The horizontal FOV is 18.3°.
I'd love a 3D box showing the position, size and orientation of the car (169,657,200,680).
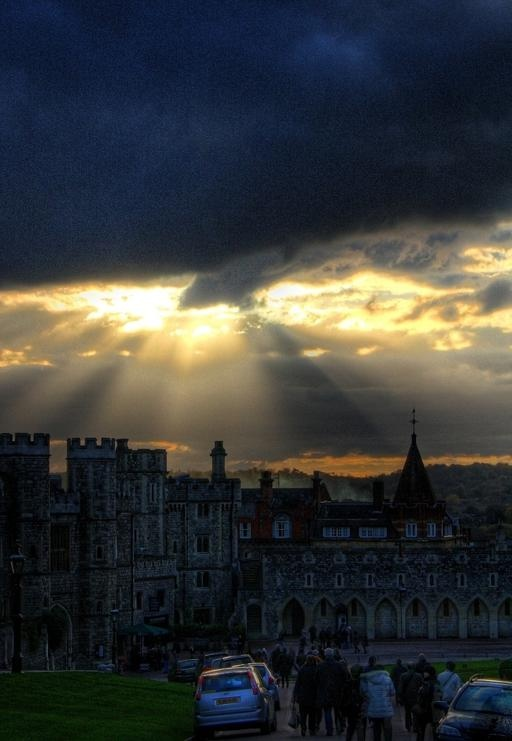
[{"bbox_3d":[-2.902,11.751,62.289,0.948,0.679,2.064,0,6,3],"label":"car"}]
